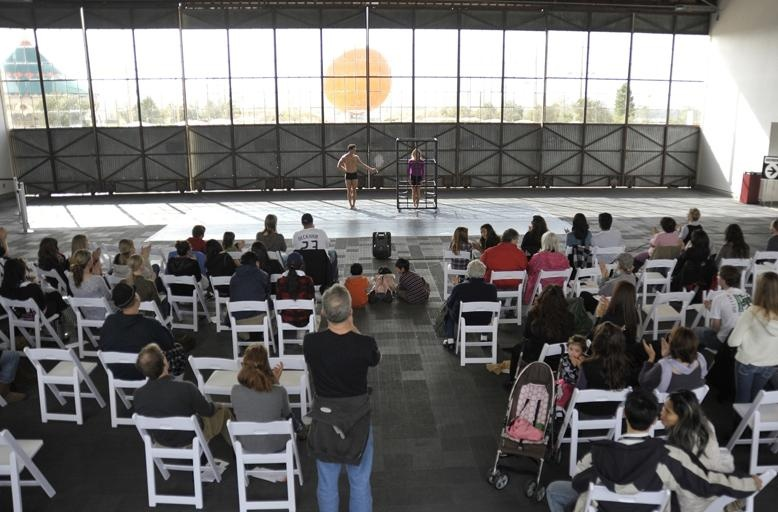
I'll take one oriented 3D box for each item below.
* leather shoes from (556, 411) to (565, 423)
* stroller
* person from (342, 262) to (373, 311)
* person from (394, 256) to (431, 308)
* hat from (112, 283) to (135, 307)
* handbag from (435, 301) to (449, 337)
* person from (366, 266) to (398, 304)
[{"bbox_3d":[2.478,2.316,8.936,0.110,0.130,0.144,2,14,5],"label":"leather shoes"},{"bbox_3d":[1.864,2.192,8.428,0.714,1.432,2.061,5,20,23],"label":"stroller"},{"bbox_3d":[-0.664,0.715,12.805,0.531,1.310,0.744,0,29,1],"label":"person"},{"bbox_3d":[0.475,0.485,13.170,0.799,0.875,0.835,5,21,20],"label":"person"},{"bbox_3d":[-3.948,0.585,9.241,0.296,0.357,0.135,-11,5,-10],"label":"hat"},{"bbox_3d":[0.992,1.212,11.548,0.207,0.533,0.545,13,16,5],"label":"handbag"},{"bbox_3d":[-0.127,0.602,13.154,0.553,0.343,0.955,2,38,7],"label":"person"}]
